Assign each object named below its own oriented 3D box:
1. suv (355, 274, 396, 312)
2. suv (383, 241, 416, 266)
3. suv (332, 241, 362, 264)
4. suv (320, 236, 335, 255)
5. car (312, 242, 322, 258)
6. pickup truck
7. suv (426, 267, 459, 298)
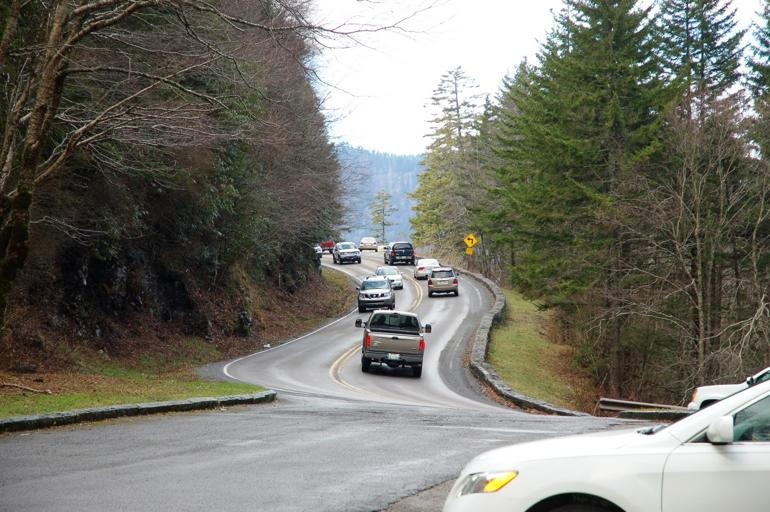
[{"bbox_3d":[-0.525,2.079,50.574,2.172,1.767,1.232,0,-4,43],"label":"suv"},{"bbox_3d":[1.188,-0.364,76.817,1.493,1.398,2.714,-1,7,-9],"label":"suv"},{"bbox_3d":[-3.634,-0.409,82.128,2.432,2.123,3.556,3,-3,-3],"label":"suv"},{"bbox_3d":[-6.704,-1.324,101.801,1.916,1.904,3.730,-1,-4,-5],"label":"suv"},{"bbox_3d":[-6.333,-0.770,80.546,1.122,1.050,2.544,1,14,-6],"label":"car"},{"bbox_3d":[0.300,3.349,35.193,2.032,1.535,3.268,3,1,-3],"label":"pickup truck"},{"bbox_3d":[3.753,1.648,57.021,1.498,1.485,3.393,0,5,2],"label":"suv"}]
